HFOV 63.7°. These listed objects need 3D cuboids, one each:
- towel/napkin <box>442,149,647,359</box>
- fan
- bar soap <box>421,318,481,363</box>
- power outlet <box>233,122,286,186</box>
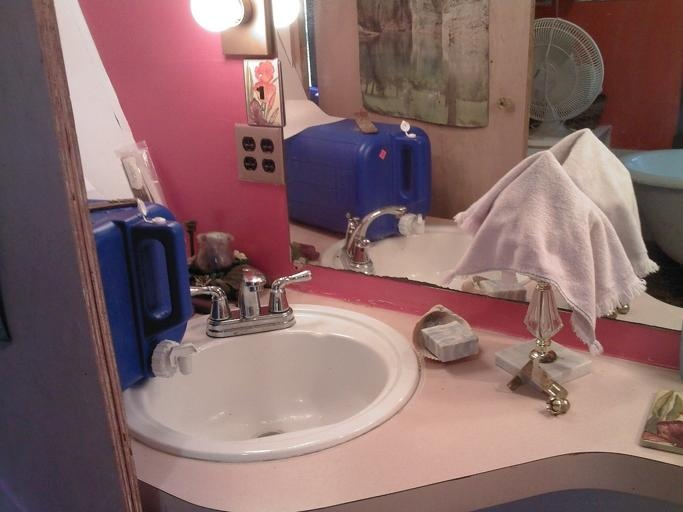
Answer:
[{"bbox_3d":[0.410,0.005,1.055,0.376,0.414,0.275,-1,18,13],"label":"towel/napkin"},{"bbox_3d":[0.431,-0.350,1.060,0.189,0.209,0.050,9,9,23],"label":"fan"},{"bbox_3d":[0.232,0.182,1.216,0.125,0.069,0.107,-2,24,-12],"label":"bar soap"},{"bbox_3d":[-0.206,-0.267,1.410,0.129,0.142,0.043,10,24,31],"label":"power outlet"}]
